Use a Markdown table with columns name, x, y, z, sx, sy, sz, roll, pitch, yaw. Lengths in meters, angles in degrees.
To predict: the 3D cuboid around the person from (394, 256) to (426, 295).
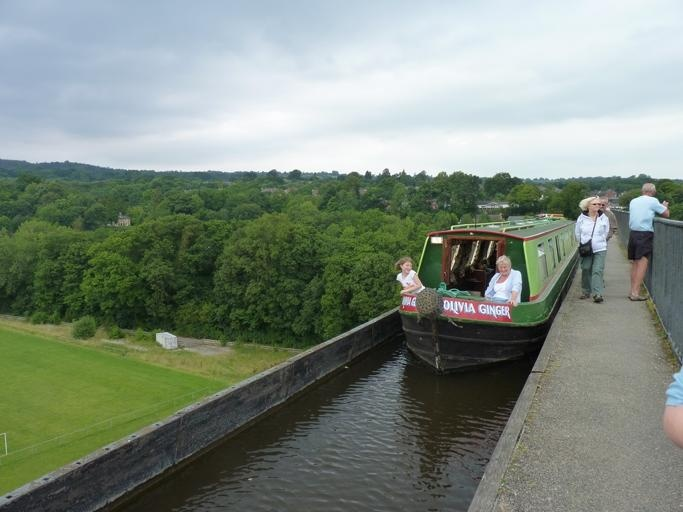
| name | x | y | z | sx | sy | sz | roll | pitch | yaw |
| --- | --- | --- | --- | --- | --- | --- | --- | --- | --- |
| person | 1.561 | 0.441 | 12.725 | 0.568 | 0.838 | 1.932 | 3 | 1 | 6 |

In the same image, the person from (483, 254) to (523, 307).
| name | x | y | z | sx | sy | sz | roll | pitch | yaw |
| --- | --- | --- | --- | --- | --- | --- | --- | --- | --- |
| person | 3.419 | 0.660 | 11.784 | 0.761 | 1.186 | 1.072 | 4 | 11 | 14 |

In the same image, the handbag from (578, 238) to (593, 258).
| name | x | y | z | sx | sy | sz | roll | pitch | yaw |
| --- | --- | --- | --- | --- | --- | --- | --- | --- | --- |
| handbag | 5.677 | -0.208 | 12.786 | 0.280 | 0.351 | 0.206 | -38 | 1 | 35 |

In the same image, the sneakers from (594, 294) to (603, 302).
| name | x | y | z | sx | sy | sz | roll | pitch | yaw |
| --- | --- | --- | --- | --- | --- | --- | --- | --- | --- |
| sneakers | 6.099 | 1.016 | 13.092 | 0.108 | 0.135 | 0.316 | -6 | -20 | 4 |
